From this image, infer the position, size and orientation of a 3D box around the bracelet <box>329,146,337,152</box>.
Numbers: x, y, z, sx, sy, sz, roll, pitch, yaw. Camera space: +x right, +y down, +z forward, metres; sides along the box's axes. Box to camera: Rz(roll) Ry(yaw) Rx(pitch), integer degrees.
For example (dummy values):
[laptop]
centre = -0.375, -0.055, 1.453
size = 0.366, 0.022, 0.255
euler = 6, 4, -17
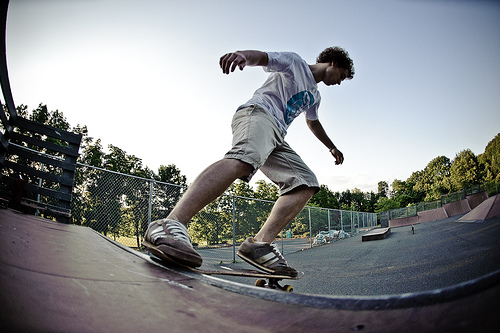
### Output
[bracelet]
centre = 0.811, -0.177, 2.816
size = 0.053, 0.063, 0.114
euler = 5, -6, 16

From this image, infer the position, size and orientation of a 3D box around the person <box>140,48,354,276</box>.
[person]
centre = 0.254, -0.182, 2.143
size = 1.386, 2.064, 0.547
euler = 28, -28, -23
